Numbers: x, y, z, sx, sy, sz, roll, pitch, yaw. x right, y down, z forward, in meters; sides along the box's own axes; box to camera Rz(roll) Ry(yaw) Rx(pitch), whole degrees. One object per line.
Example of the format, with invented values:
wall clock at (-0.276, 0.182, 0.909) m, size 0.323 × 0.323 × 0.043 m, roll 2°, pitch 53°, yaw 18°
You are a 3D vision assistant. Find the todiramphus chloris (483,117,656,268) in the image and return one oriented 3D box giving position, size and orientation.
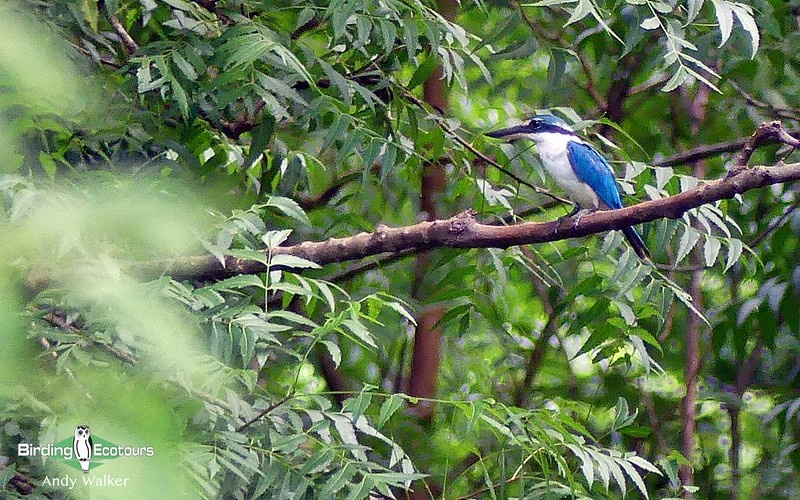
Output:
todiramphus chloris at (0.596, -0.226, 3.766) m, size 0.581 × 0.205 × 0.474 m, roll -8°, pitch 98°, yaw -30°
